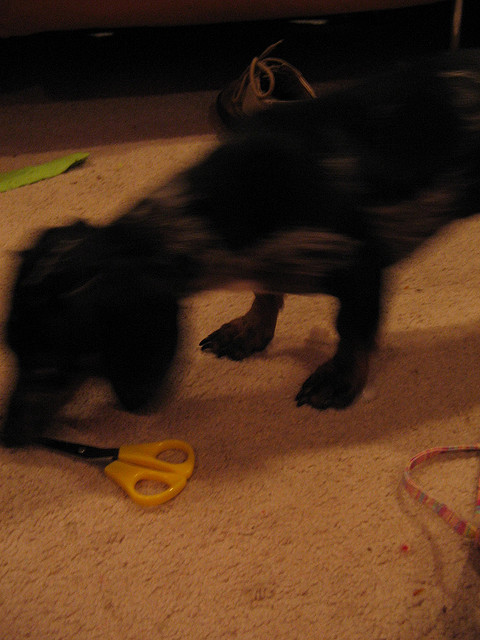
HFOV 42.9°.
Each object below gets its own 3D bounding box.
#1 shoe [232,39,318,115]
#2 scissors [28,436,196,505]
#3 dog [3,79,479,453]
[{"bbox_3d":[0.033,-0.353,0.953,0.093,0.079,0.247,-17,37,-26],"label":"shoe"},{"bbox_3d":[-0.146,0.154,0.694,0.182,0.016,0.093,13,38,12],"label":"scissors"},{"bbox_3d":[-0.004,-0.062,0.723,0.643,0.374,0.200,-11,40,-10],"label":"dog"}]
